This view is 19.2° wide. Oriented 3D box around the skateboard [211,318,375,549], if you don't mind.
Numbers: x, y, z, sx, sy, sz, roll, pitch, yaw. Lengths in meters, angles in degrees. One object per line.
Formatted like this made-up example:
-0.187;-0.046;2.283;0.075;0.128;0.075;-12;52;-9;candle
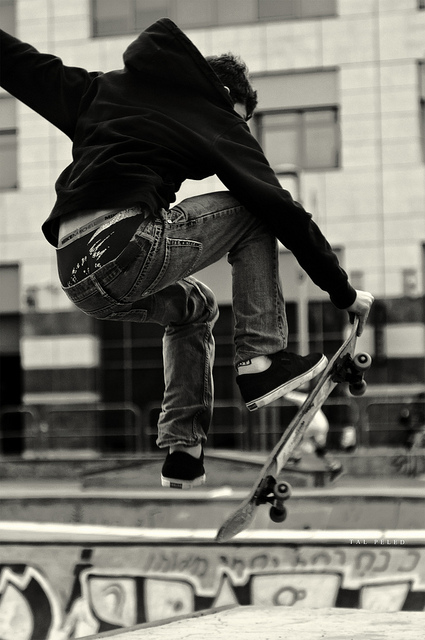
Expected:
0.600;0.754;8.179;0.286;1.532;0.320;28;-18;-3;skateboard

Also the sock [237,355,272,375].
0.193;0.205;5.674;0.119;0.092;0.086;5;-11;10;sock
